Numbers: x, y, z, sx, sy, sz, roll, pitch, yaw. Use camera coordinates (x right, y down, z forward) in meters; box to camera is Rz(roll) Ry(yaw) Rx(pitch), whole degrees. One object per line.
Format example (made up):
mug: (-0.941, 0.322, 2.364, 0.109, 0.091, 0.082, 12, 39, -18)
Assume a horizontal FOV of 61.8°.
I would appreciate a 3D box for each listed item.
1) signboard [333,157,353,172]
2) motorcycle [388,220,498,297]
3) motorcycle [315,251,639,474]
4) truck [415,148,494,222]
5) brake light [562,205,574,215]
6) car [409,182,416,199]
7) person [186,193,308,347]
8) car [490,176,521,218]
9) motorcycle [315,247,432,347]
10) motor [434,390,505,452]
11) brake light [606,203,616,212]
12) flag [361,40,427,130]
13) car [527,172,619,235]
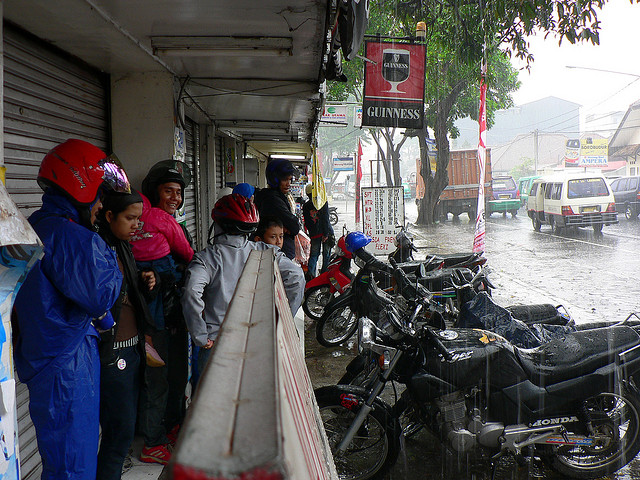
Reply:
signboard: (1.616, -5.537, 38.293, 1.357, 0.861, 1.103, 1, 4, 21)
motorcycle: (1.623, 0.206, 7.224, 1.758, 1.337, 0.895, 2, 2, 11)
motorcycle: (1.268, 0.959, 4.525, 2.477, 1.624, 1.285, -4, 17, -5)
truck: (8.180, -3.607, 30.404, 3.480, 3.974, 6.177, -4, 15, 17)
brake light: (8.246, -1.024, 17.857, 0.270, 0.192, 0.289, 1, 8, 15)
car: (10.333, -5.650, 59.522, 0.859, 0.772, 2.165, 0, 17, 9)
person: (-0.567, 0.172, 4.521, 0.742, 1.123, 1.617, 0, 4, 1)
car: (9.971, -2.370, 28.872, 1.471, 2.164, 1.778, 1, 4, 22)
motorcycle: (0.531, 0.813, 6.339, 1.423, 1.034, 0.740, 1, 12, 1)
motor: (1.056, 1.297, 3.848, 0.420, 0.191, 0.442, -1, 36, -24)
brake light: (9.634, -1.118, 17.744, 0.258, 0.183, 0.279, 1, 5, 11)
flag: (1.254, -2.647, 9.034, 1.101, 1.479, 0.039, 1, 6, -10)
car: (9.011, -1.402, 19.462, 1.853, 2.137, 3.896, -5, 7, 2)
